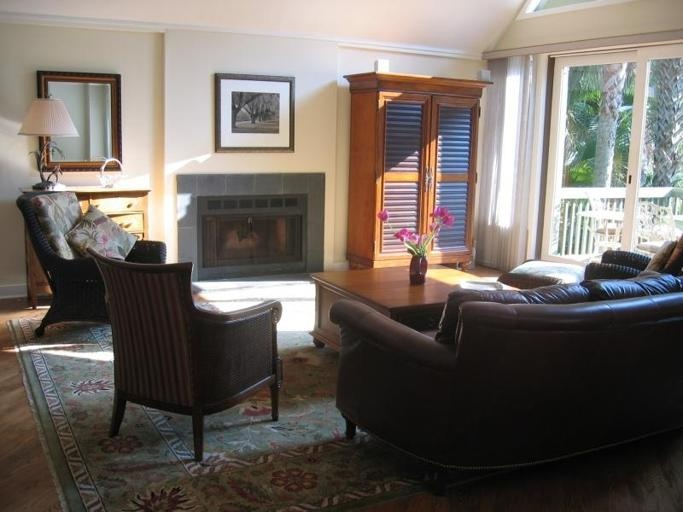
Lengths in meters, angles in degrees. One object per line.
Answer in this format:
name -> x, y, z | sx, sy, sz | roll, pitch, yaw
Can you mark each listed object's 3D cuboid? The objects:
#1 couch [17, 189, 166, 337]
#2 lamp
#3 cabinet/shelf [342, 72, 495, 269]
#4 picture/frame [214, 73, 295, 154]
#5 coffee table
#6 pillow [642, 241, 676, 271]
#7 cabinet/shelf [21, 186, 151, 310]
couch -> -1.942, 0.149, 4.241 | 1.111, 0.881, 0.886 | 2, -5, 4
lamp -> -2.528, -0.962, 4.605 | 0.510, 0.751, 0.485 | -3, 10, -41
cabinet/shelf -> 0.795, -0.898, 5.908 | 1.356, 2.061, 0.632 | -6, 17, -26
picture/frame -> -0.925, -1.476, 5.436 | 0.937, 0.720, 0.062 | -4, 12, -25
coffee table -> 0.266, 0.414, 3.574 | 0.767, 0.302, 0.722 | 2, 7, -43
pillow -> 2.106, -0.003, 3.489 | 0.136, 0.193, 0.304 | 10, 17, 30
cabinet/shelf -> -1.898, -0.060, 3.875 | 1.093, 0.949, 0.441 | -6, 9, -38
